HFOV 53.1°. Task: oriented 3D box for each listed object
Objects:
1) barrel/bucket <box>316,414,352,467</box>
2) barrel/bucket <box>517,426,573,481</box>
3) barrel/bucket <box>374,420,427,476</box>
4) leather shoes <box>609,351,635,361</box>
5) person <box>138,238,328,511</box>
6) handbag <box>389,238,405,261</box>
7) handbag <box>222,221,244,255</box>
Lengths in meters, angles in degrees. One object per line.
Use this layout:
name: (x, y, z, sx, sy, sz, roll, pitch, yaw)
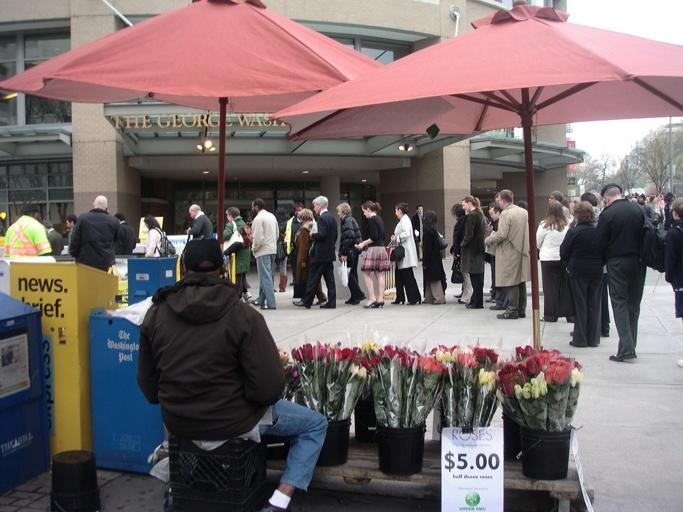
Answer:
barrel/bucket: (-0.038, 1.303, 4.779, 0.270, 0.220, 0.252, 2, -7, 0)
barrel/bucket: (1.332, 1.286, 4.488, 0.302, 0.270, 0.305, 1, -12, 0)
barrel/bucket: (0.390, 1.277, 4.549, 0.297, 0.246, 0.281, -1, -4, 0)
leather shoes: (3.194, 1.154, 7.833, 0.283, 0.115, 0.110, 3, -2, 8)
person: (-0.719, 0.770, 4.422, 1.150, 1.746, 0.463, -1, 2, -20)
handbag: (0.988, -0.104, 12.223, 0.253, 0.377, 0.189, -14, -24, 12)
handbag: (-1.849, -0.286, 11.684, 0.138, 0.449, 0.443, 14, -30, -29)
